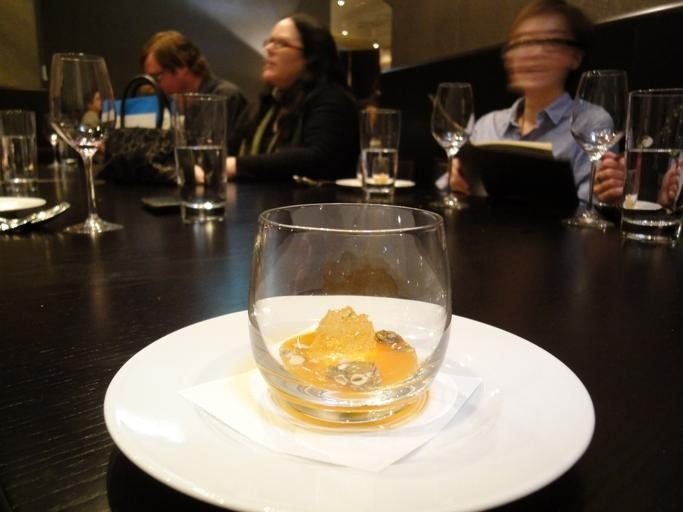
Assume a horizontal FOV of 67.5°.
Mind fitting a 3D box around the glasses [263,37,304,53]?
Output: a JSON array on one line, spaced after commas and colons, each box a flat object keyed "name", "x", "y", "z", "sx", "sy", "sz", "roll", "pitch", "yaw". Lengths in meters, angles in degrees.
[{"name": "glasses", "x": -0.278, "y": -1.039, "z": 2.515, "sx": 0.136, "sy": 0.039, "sz": 0.134, "roll": 5, "pitch": 11, "yaw": -28}]

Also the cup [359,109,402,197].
[{"name": "cup", "x": 0.102, "y": -0.277, "z": 1.354, "sx": 0.102, "sy": 0.221, "sz": 0.240, "roll": 1, "pitch": 15, "yaw": 4}]

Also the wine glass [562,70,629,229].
[{"name": "wine glass", "x": 0.498, "y": -0.217, "z": 1.001, "sx": 0.097, "sy": 0.292, "sz": 0.219, "roll": 7, "pitch": 16, "yaw": 25}]

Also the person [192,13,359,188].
[{"name": "person", "x": -0.310, "y": -0.766, "z": 2.548, "sx": 0.728, "sy": 0.815, "sz": 0.978, "roll": -4, "pitch": 13, "yaw": -42}]

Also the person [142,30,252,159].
[{"name": "person", "x": -0.989, "y": -1.055, "z": 3.464, "sx": 0.621, "sy": 0.895, "sz": 0.530, "roll": 14, "pitch": 39, "yaw": 20}]

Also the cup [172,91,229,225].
[{"name": "cup", "x": -0.277, "y": -0.201, "z": 1.023, "sx": 0.107, "sy": 0.238, "sz": 0.180, "roll": -4, "pitch": 15, "yaw": -16}]

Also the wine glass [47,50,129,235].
[{"name": "wine glass", "x": -0.496, "y": -0.240, "z": 1.000, "sx": 0.125, "sy": 0.321, "sz": 0.437, "roll": -8, "pitch": 17, "yaw": -27}]

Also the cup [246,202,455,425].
[{"name": "cup", "x": 0.007, "y": 0.031, "z": 0.396, "sx": 0.135, "sy": 0.125, "sz": 0.139, "roll": 0, "pitch": 9, "yaw": 0}]

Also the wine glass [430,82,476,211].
[{"name": "wine glass", "x": 0.280, "y": -0.289, "z": 1.302, "sx": 0.102, "sy": 0.298, "sz": 0.416, "roll": 3, "pitch": 15, "yaw": 10}]
